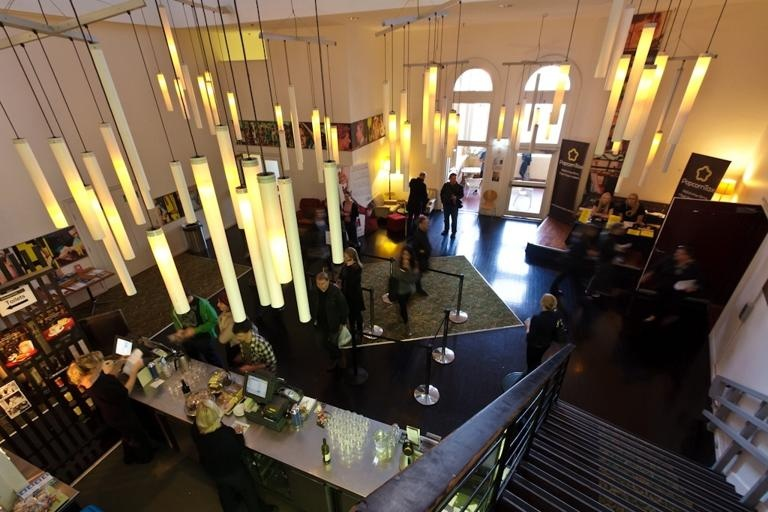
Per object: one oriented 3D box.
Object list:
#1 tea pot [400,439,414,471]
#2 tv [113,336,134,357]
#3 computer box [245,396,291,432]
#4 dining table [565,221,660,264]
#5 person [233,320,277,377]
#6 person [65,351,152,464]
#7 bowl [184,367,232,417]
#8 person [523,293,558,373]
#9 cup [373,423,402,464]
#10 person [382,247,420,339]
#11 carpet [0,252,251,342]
[{"bbox_3d":[0.354,2.912,6.914,0.207,0.370,0.236,2,26,6],"label":"tea pot"},{"bbox_3d":[-4.336,1.533,7.982,0.334,0.342,0.282,16,-18,-39],"label":"tv"},{"bbox_3d":[-1.747,2.416,7.249,0.545,0.334,0.524,11,28,19],"label":"computer box"},{"bbox_3d":[5.595,-0.223,11.200,1.300,1.039,2.236,6,-1,-38],"label":"dining table"},{"bbox_3d":[-2.245,1.491,7.948,0.478,1.034,0.813,-23,33,-38],"label":"person"},{"bbox_3d":[-4.517,2.488,7.760,0.692,2.067,1.007,30,50,14],"label":"person"},{"bbox_3d":[-2.838,2.138,7.609,0.643,0.279,0.661,-3,38,3],"label":"bowl"},{"bbox_3d":[2.843,1.492,8.570,0.551,1.642,0.464,-4,26,-6],"label":"person"},{"bbox_3d":[0.043,2.775,7.007,0.368,0.426,0.496,12,28,25],"label":"cup"},{"bbox_3d":[0.415,0.682,9.925,0.595,1.734,0.911,5,26,13],"label":"person"},{"bbox_3d":[-5.581,0.957,11.015,1.815,0.019,3.072,24,36,32],"label":"carpet"}]
